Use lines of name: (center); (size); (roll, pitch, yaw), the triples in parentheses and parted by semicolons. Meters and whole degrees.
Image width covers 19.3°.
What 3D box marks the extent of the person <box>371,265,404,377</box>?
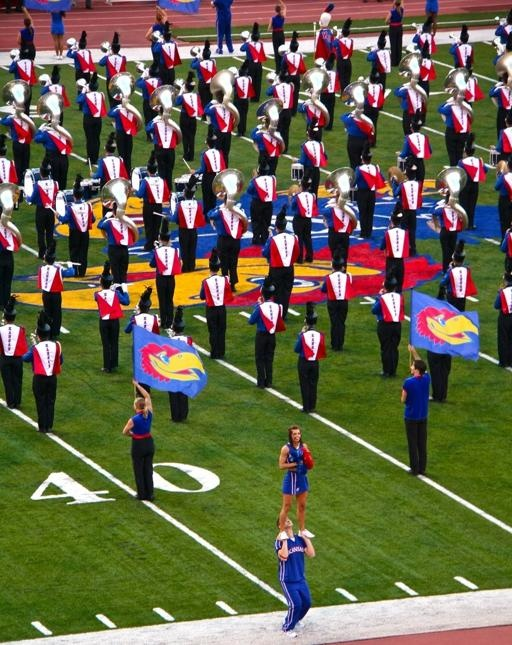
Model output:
person: (1.785, 0.030, 20.669); (0.401, 1.432, 0.493); (3, 9, 5)

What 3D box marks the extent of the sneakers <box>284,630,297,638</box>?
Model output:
sneakers: (0.323, 2.842, 13.858); (0.110, 0.046, 0.092); (1, 9, -8)

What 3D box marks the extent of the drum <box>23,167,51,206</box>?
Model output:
drum: (-3.501, -2.214, 24.274); (0.448, 0.805, 0.776); (-3, 9, -13)

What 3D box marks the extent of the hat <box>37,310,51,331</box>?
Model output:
hat: (-2.651, -0.040, 18.930); (0.084, 0.301, 0.132); (-5, 42, -15)

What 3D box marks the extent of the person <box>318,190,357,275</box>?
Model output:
person: (1.279, -1.413, 23.621); (0.467, 1.325, 0.453); (-1, 26, -8)

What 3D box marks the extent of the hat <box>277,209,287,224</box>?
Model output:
hat: (0.362, -1.536, 21.557); (0.126, 0.217, 0.165); (13, 38, 1)

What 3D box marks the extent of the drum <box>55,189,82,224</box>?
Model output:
drum: (-2.926, -1.836, 23.649); (0.322, 0.511, 0.494); (-4, 16, -21)

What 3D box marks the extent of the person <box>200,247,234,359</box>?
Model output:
person: (-0.565, -0.274, 21.159); (0.426, 1.581, 0.999); (1, 9, -2)

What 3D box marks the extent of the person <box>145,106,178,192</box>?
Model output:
person: (-1.661, -3.208, 27.642); (0.561, 1.639, 0.502); (3, 35, -3)

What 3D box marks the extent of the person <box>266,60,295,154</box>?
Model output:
person: (0.470, -4.271, 30.220); (0.511, 1.740, 0.470); (4, 24, 1)

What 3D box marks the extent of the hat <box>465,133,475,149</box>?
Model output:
hat: (3.665, -3.099, 26.000); (0.137, 0.370, 0.460); (3, 9, 7)

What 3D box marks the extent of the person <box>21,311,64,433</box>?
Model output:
person: (-2.584, 0.586, 18.313); (0.444, 1.512, 0.424); (0, 9, -12)

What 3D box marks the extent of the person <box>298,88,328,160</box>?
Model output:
person: (1.123, -3.778, 29.153); (0.587, 1.263, 0.375); (12, 24, 30)

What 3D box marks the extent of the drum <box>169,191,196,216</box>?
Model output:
drum: (-1.163, -2.004, 24.349); (0.329, 0.488, 0.443); (-4, -11, -6)

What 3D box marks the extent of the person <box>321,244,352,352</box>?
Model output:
person: (1.121, -0.286, 21.369); (0.378, 1.476, 0.823); (3, 9, 6)

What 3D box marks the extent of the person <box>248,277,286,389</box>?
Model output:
person: (0.134, 0.144, 20.003); (0.456, 1.516, 0.630); (2, 9, 1)

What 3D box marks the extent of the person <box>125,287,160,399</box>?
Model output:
person: (-1.419, 0.168, 19.140); (0.403, 1.177, 0.369); (-10, 6, -33)

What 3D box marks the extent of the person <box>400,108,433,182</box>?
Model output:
person: (2.800, -2.948, 26.860); (0.625, 1.471, 0.626); (7, 17, 11)

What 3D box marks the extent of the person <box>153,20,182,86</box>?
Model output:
person: (-1.903, -5.699, 32.726); (0.548, 1.621, 0.436); (-15, 42, -21)

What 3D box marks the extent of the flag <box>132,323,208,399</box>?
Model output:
flag: (-1.057, 0.478, 18.046); (0.900, 0.675, 0.075); (19, -37, -34)

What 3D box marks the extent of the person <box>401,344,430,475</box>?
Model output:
person: (1.845, 1.100, 17.595); (0.274, 1.437, 0.561); (3, 9, 10)

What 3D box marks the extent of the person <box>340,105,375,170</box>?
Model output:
person: (1.920, -3.515, 28.746); (0.533, 1.576, 0.469); (-10, 37, -8)

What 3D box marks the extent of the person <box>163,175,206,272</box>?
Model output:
person: (-1.131, -1.624, 24.408); (0.653, 1.634, 0.665); (-1, 21, -8)

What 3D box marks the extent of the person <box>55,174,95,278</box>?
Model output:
person: (-2.875, -1.568, 23.900); (0.596, 1.674, 0.588); (-12, 31, -29)

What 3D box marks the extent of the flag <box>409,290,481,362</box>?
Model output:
flag: (2.386, 0.054, 19.248); (0.889, 0.730, 0.148); (11, -18, -27)

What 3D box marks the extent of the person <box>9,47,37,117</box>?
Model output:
person: (-4.906, -5.153, 31.977); (0.499, 1.448, 0.454); (-3, 35, -11)

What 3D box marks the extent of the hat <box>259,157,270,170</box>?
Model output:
hat: (0.128, -2.595, 24.682); (0.159, 0.242, 0.411); (2, 9, -1)

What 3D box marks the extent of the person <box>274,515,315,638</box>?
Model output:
person: (0.345, 2.309, 13.993); (0.344, 1.038, 0.564); (2, 9, 2)

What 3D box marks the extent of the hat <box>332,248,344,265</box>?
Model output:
hat: (1.132, -0.947, 20.946); (0.144, 0.214, 0.080); (-3, 19, 6)

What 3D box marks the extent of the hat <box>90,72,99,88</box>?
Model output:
hat: (-3.125, -4.662, 29.058); (0.142, 0.290, 0.244); (-1, 9, -16)

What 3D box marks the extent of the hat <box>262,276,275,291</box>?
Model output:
hat: (0.152, -0.530, 19.762); (0.159, 0.158, 0.145); (14, 57, 7)

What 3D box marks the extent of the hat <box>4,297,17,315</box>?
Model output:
hat: (-3.085, -0.284, 18.955); (0.132, 0.257, 0.748); (0, 9, -10)
